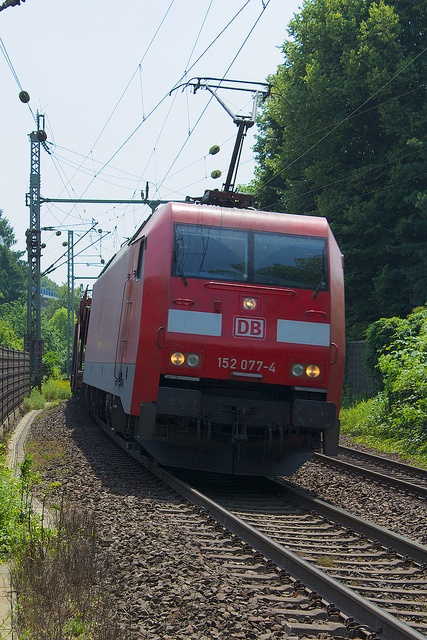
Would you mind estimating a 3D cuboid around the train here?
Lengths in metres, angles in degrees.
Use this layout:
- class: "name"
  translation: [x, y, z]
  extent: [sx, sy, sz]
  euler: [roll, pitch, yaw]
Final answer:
- class: "train"
  translation: [0.158, -0.465, 10.735]
  extent: [3.016, 3.947, 8.355]
  euler: [8, 8, -4]
